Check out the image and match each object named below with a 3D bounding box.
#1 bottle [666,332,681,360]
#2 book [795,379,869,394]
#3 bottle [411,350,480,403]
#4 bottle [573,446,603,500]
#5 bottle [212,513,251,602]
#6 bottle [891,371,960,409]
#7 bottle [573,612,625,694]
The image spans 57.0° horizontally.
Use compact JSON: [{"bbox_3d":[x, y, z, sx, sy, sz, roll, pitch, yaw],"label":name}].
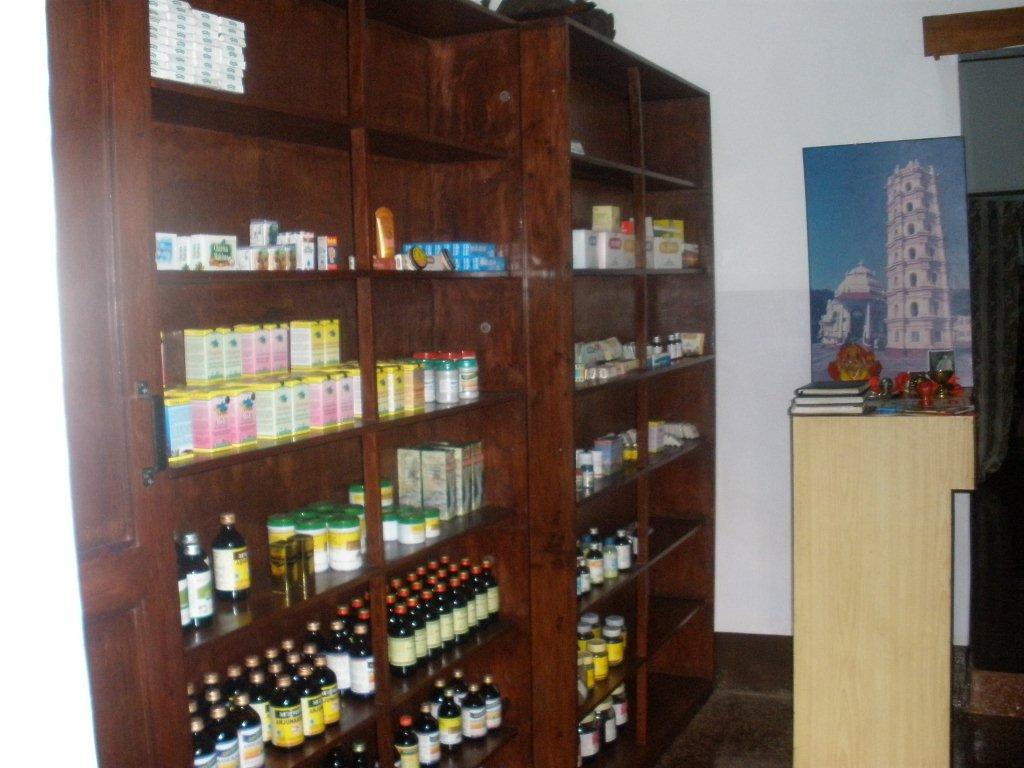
[{"bbox_3d":[0.897,-0.208,5.226,0.120,0.178,0.138,0,6,11],"label":"bottle"},{"bbox_3d":[1.299,0.016,3.833,0.260,0.026,0.406,-1,6,19],"label":"book"},{"bbox_3d":[-0.275,-0.026,3.780,0.254,0.242,0.152,-7,10,-40],"label":"bottle"},{"bbox_3d":[0.355,0.415,4.532,0.114,0.190,0.201,0,-1,14],"label":"bottle"},{"bbox_3d":[-0.903,0.550,3.037,0.110,0.275,0.126,-3,5,11],"label":"bottle"},{"bbox_3d":[1.756,0.027,3.992,0.211,0.105,0.289,1,2,33],"label":"bottle"},{"bbox_3d":[0.420,1.301,4.570,0.149,0.180,0.455,0,-2,13],"label":"bottle"}]
